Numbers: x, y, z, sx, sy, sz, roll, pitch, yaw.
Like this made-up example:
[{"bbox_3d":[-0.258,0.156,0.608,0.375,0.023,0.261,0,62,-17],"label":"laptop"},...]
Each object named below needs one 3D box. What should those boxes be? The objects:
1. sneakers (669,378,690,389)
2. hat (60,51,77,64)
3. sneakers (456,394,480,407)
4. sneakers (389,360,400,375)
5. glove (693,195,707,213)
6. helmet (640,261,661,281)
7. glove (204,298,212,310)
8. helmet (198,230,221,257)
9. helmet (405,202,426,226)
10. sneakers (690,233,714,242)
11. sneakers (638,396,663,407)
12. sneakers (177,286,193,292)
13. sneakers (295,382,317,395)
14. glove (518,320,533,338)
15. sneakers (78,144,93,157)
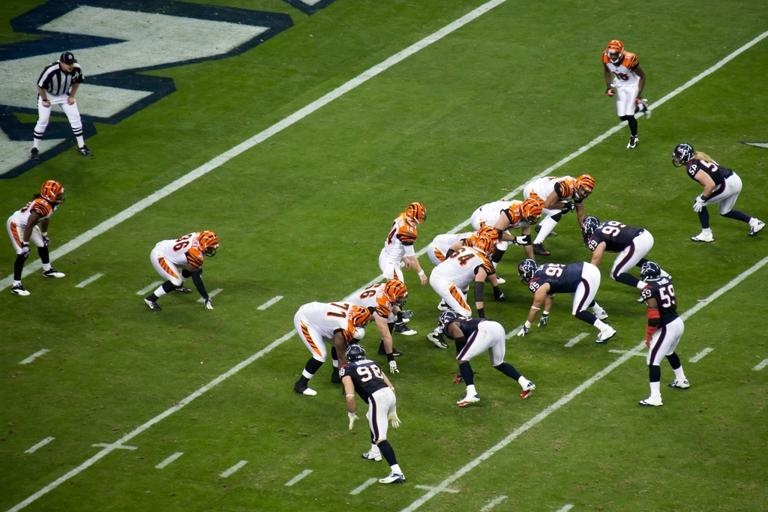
[{"bbox_3d":[5.125,2.186,20.207,0.424,0.137,0.144,3,9,27],"label":"sneakers"},{"bbox_3d":[-6.918,-4.306,25.632,0.277,0.279,0.363,-20,31,-17],"label":"hat"},{"bbox_3d":[1.495,2.458,20.031,0.475,0.182,0.155,-11,-2,7],"label":"sneakers"},{"bbox_3d":[0.191,1.952,20.668,0.219,0.245,0.076,12,25,16],"label":"sneakers"},{"bbox_3d":[6.347,-1.015,23.447,0.139,0.324,0.234,-13,56,-43],"label":"glove"},{"bbox_3d":[4.753,0.307,20.762,0.342,0.321,0.668,-5,28,9],"label":"helmet"},{"bbox_3d":[-3.328,0.914,22.151,0.077,0.192,0.147,14,50,28],"label":"glove"},{"bbox_3d":[-3.330,-0.217,22.277,0.455,0.374,0.320,38,37,4],"label":"helmet"},{"bbox_3d":[0.608,-0.833,22.312,0.546,0.406,0.341,-9,27,1],"label":"helmet"},{"bbox_3d":[6.415,-0.362,23.565,0.457,0.155,0.171,3,12,20],"label":"sneakers"},{"bbox_3d":[4.539,2.453,19.844,0.469,0.162,0.153,3,10,12],"label":"sneakers"},{"bbox_3d":[-3.885,0.650,22.819,0.357,0.120,0.104,1,27,2],"label":"sneakers"},{"bbox_3d":[-1.360,2.304,20.415,0.398,0.124,0.192,4,10,9],"label":"sneakers"},{"bbox_3d":[2.606,1.312,21.467,0.218,0.401,0.138,12,37,-15],"label":"glove"},{"bbox_3d":[-6.714,-2.371,26.464,0.388,0.140,0.165,19,32,34],"label":"sneakers"}]
